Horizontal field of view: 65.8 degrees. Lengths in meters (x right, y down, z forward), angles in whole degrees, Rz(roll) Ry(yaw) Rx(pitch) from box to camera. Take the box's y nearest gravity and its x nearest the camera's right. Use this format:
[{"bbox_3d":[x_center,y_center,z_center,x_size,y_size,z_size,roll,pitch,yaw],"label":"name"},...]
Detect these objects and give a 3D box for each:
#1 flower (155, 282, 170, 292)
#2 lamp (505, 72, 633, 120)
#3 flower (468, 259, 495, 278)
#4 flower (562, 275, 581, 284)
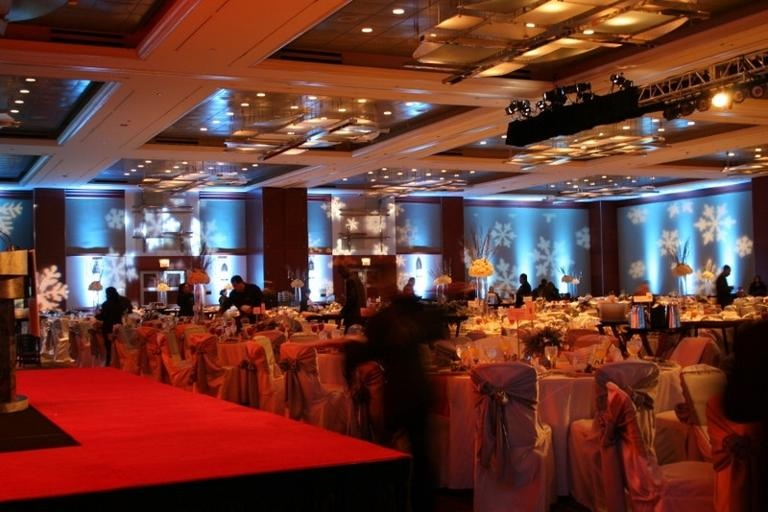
[{"bbox_3d":[-7.266,1.033,19.705,0.313,0.179,0.297,0,-3,10],"label":"flower"},{"bbox_3d":[3.061,-2.648,9.845,1.004,0.231,1.067,-10,-2,-39],"label":"lamp"},{"bbox_3d":[2.241,0.304,13.991,0.634,0.503,0.793,2,-1,15],"label":"flower"},{"bbox_3d":[6.844,0.897,22.312,0.631,0.299,0.904,-1,-6,10],"label":"flower"}]
